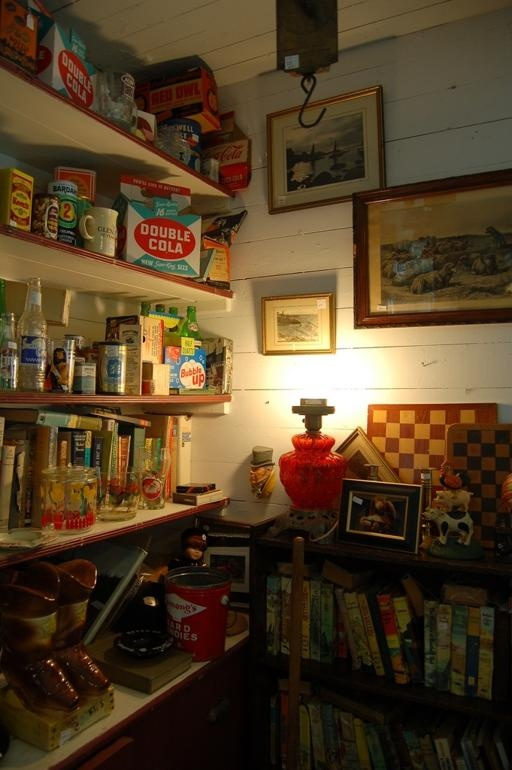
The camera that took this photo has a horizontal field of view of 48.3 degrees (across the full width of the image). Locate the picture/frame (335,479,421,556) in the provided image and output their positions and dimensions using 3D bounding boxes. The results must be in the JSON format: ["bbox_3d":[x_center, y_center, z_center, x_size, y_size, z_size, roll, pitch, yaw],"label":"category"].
[{"bbox_3d":[0.353,0.387,1.636,0.221,0.179,0.030,-3,-24,38],"label":"picture/frame"}]

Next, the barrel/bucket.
[{"bbox_3d":[-0.178,0.648,1.712,0.196,0.209,0.217,2,1,23],"label":"barrel/bucket"}]

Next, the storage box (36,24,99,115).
[{"bbox_3d":[-0.478,-0.815,1.498,0.082,0.218,0.261,0,0,11],"label":"storage box"}]

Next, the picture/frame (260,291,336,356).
[{"bbox_3d":[0.168,-0.227,2.110,0.241,0.198,0.018,1,-3,35],"label":"picture/frame"}]

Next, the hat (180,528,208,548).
[{"bbox_3d":[-0.219,0.547,2.030,0.060,0.066,0.072,12,-29,-24],"label":"hat"}]

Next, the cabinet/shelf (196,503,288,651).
[{"bbox_3d":[0.001,0.624,1.979,0.271,0.559,0.399,0,0,30],"label":"cabinet/shelf"}]

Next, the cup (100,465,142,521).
[{"bbox_3d":[-0.404,0.347,1.783,0.114,0.125,0.126,0,-2,23],"label":"cup"}]

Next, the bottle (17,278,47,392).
[{"bbox_3d":[-0.591,-0.131,1.503,0.069,0.297,0.175,1,-1,-23],"label":"bottle"}]

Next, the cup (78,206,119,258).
[{"bbox_3d":[-0.433,-0.424,1.609,0.069,0.145,0.172,0,-1,20],"label":"cup"}]

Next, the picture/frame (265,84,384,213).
[{"bbox_3d":[0.263,-0.847,2.055,0.534,0.459,0.054,1,5,35],"label":"picture/frame"}]
